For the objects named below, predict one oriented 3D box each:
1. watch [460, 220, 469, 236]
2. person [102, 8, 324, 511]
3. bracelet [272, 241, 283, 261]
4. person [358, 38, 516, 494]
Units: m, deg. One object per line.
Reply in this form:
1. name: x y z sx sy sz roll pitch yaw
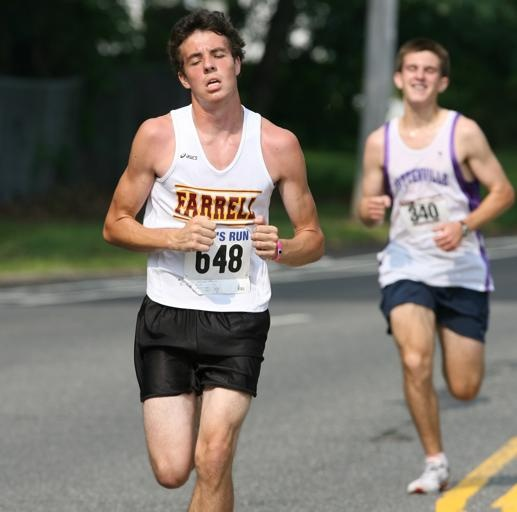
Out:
1. watch: 0.835 -0.112 3.420 0.032 0.062 0.061 0 -1 5
2. person: -0.139 -0.021 2.913 0.750 1.453 0.517 -11 5 -13
3. bracelet: 0.069 -0.016 2.895 0.019 0.057 0.054 5 -25 6
4. person: 0.775 -0.007 3.499 0.634 1.343 0.489 -10 4 6
